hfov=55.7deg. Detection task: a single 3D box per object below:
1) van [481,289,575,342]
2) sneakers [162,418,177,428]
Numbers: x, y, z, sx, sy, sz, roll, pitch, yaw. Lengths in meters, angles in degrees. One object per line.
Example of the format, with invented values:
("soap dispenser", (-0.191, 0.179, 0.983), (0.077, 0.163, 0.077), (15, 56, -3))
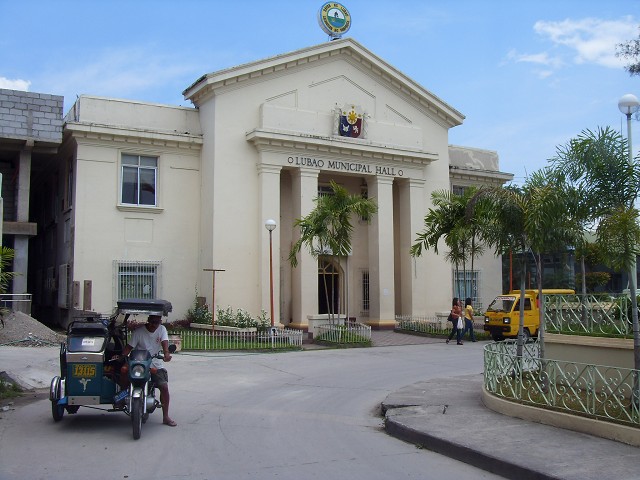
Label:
("van", (9.750, 3.541, 28.331), (3.604, 2.536, 2.080), (4, -4, -26))
("sneakers", (-2.912, 3.555, 11.842), (0.272, 0.230, 0.121), (-1, 2, 24))
